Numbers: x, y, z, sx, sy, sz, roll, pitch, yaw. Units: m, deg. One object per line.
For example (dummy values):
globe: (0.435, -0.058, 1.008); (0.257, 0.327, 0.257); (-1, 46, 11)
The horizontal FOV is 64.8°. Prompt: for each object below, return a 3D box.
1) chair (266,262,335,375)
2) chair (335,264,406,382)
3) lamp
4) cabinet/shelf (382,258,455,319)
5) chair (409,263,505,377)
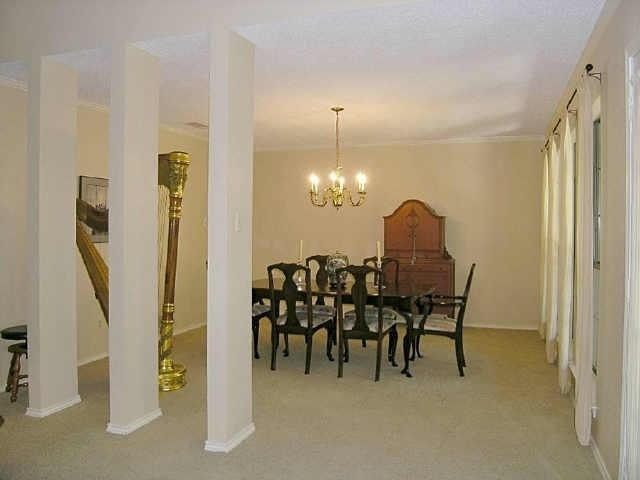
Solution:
chair: (-0.204, 0.823, 5.807); (0.625, 1.248, 0.720); (1, 6, 13)
chair: (0.598, 0.827, 5.725); (0.766, 1.222, 1.276); (1, 6, 5)
lamp: (0.235, -1.121, 6.759); (0.747, 1.336, 0.742); (3, 6, 35)
cabinet/shelf: (1.312, 0.622, 6.528); (0.781, 0.792, 0.315); (-1, -6, 13)
chair: (1.369, 0.888, 5.770); (0.669, 1.160, 0.733); (2, -3, 17)
